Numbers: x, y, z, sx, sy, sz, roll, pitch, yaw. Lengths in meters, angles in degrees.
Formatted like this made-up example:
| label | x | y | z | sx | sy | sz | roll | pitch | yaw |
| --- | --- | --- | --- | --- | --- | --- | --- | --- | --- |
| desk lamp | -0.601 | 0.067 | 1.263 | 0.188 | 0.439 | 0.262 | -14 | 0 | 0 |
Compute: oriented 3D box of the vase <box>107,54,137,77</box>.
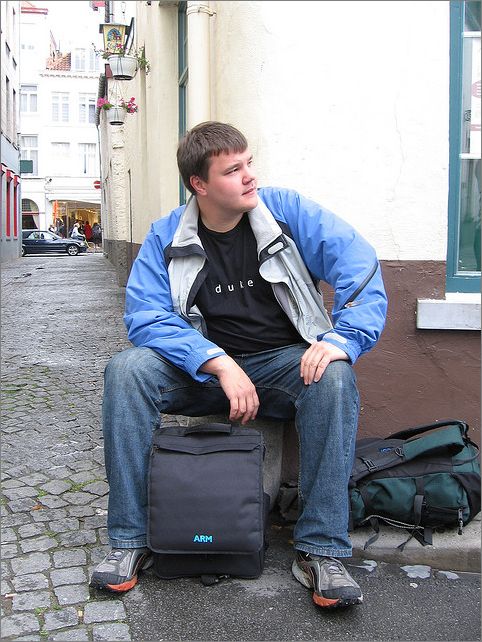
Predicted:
| label | x | y | z | sx | sy | sz | roll | pitch | yaw |
| --- | --- | --- | --- | --- | --- | --- | --- | --- | --- |
| vase | -1.724 | -3.695 | 9.123 | 0.417 | 0.257 | 0.399 | 0 | 5 | -1 |

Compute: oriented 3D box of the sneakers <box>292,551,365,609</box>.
| label | x | y | z | sx | sy | sz | roll | pitch | yaw |
| --- | --- | --- | --- | --- | --- | --- | --- | --- | --- |
| sneakers | 0.270 | 0.785 | 1.951 | 0.146 | 0.140 | 0.330 | 8 | -4 | -15 |

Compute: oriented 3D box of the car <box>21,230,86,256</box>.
| label | x | y | z | sx | sy | sz | roll | pitch | yaw |
| --- | --- | --- | --- | --- | --- | --- | --- | --- | --- |
| car | -10.573 | -4.345 | 35.464 | 3.400 | 1.020 | 1.450 | -2 | 6 | -12 |

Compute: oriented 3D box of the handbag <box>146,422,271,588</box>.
| label | x | y | z | sx | sy | sz | roll | pitch | yaw |
| --- | --- | --- | --- | --- | --- | --- | --- | --- | --- |
| handbag | -0.070 | 0.579 | 2.062 | 0.464 | 0.513 | 0.462 | -3 | 0 | -9 |
